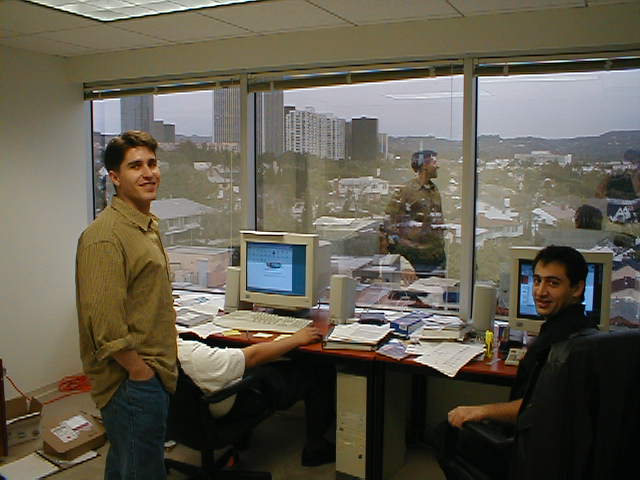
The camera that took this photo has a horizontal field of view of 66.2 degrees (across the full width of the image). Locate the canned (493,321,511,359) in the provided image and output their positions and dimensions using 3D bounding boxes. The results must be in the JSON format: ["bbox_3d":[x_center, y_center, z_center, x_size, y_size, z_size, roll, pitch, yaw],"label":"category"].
[{"bbox_3d":[1.140,0.653,3.200,0.148,0.213,0.141,7,-11,-1],"label":"canned"}]

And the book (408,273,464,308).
[{"bbox_3d":[0.873,0.376,3.652,0.237,0.091,0.246,7,18,21],"label":"book"}]

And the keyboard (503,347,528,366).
[{"bbox_3d":[1.151,0.681,2.886,0.122,0.044,0.180,-2,19,27],"label":"keyboard"}]

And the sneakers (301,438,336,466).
[{"bbox_3d":[-0.001,1.455,3.421,0.264,0.161,0.125,-2,2,-31],"label":"sneakers"}]

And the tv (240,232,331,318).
[{"bbox_3d":[-0.393,0.279,3.781,0.607,0.558,0.437,5,-14,-24],"label":"tv"}]

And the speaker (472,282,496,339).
[{"bbox_3d":[1.076,0.466,3.247,0.127,0.318,0.141,6,-2,-24],"label":"speaker"}]

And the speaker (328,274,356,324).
[{"bbox_3d":[0.159,0.434,3.547,0.164,0.338,0.202,-5,-9,41],"label":"speaker"}]
